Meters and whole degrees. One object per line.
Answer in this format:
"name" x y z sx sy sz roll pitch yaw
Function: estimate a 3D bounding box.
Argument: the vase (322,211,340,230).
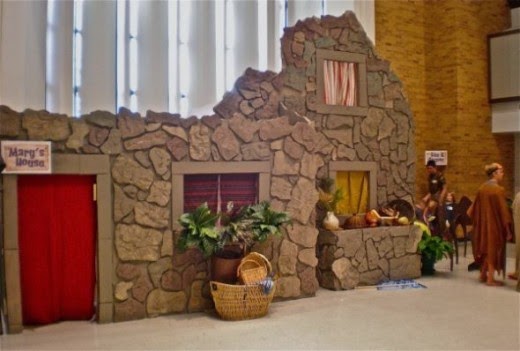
"vase" 1.762 1.116 11.253 0.424 0.452 0.434 3 -8 -17

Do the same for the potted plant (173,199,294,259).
"potted plant" -0.618 1.132 9.752 2.293 1.116 0.811 -1 -2 -13

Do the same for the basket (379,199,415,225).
"basket" 3.659 0.972 12.161 1.112 0.687 0.616 0 -2 -32

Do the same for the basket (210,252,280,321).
"basket" -0.331 2.415 9.940 1.551 1.493 1.067 1 -5 -19

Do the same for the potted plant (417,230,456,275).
"potted plant" 4.651 2.080 12.134 1.040 1.164 0.418 -1 -2 -20

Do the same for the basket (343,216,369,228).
"basket" 2.404 1.205 11.480 0.386 0.181 0.399 -2 -3 29
